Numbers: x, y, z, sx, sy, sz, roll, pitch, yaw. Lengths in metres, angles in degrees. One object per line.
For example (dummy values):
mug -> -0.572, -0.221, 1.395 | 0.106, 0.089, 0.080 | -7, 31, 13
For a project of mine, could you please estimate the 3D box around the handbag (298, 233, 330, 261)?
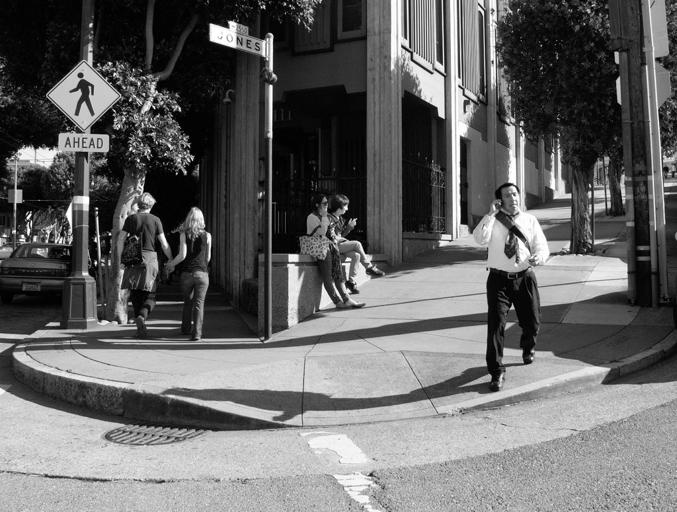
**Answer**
handbag -> -0.376, -0.114, 10.523 | 0.508, 0.426, 0.316 | -3, 8, -6

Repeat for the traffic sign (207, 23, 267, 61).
traffic sign -> -1.447, -3.044, 9.038 | 0.943, 0.389, 0.169 | -10, 11, -40

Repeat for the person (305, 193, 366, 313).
person -> -0.178, -0.042, 10.754 | 1.019, 1.957, 0.671 | -3, 7, -12

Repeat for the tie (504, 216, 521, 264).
tie -> 1.982, -0.177, 7.164 | 0.151, 0.478, 0.261 | 1, 8, 18

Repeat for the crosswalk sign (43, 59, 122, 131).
crosswalk sign -> -4.268, -2.641, 10.650 | 1.123, 1.127, 0.263 | -44, 6, 0

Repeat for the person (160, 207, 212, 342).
person -> -2.362, 0.406, 9.996 | 0.652, 2.282, 0.681 | 2, 4, -21

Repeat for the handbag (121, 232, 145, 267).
handbag -> -3.303, -0.084, 10.174 | 0.389, 0.570, 0.193 | -3, -12, 13

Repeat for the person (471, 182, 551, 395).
person -> 1.926, 0.317, 7.198 | 0.721, 2.292, 0.988 | 0, 0, 25

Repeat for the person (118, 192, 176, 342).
person -> -3.210, 0.193, 10.413 | 0.764, 2.377, 0.824 | 3, -9, -18

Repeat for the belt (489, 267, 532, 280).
belt -> 1.983, 0.196, 7.191 | 0.489, 0.120, 0.158 | -3, 8, -5
